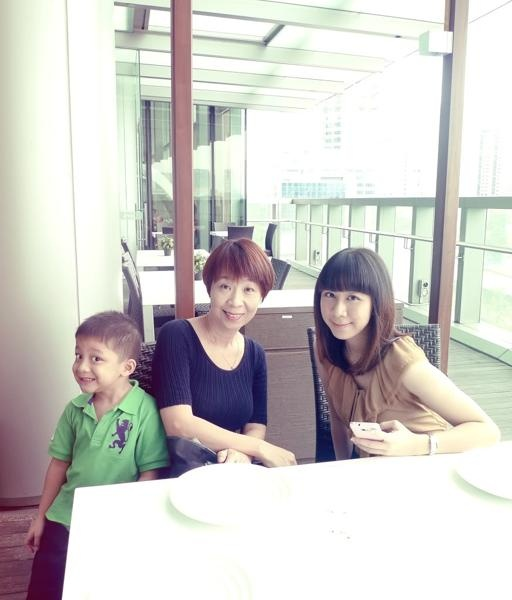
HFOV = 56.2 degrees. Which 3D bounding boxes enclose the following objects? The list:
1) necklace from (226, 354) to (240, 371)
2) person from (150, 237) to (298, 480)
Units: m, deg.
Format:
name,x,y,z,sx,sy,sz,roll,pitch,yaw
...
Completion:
name,x,y,z,sx,sy,sz,roll,pitch,yaw
necklace,-0.070,0.183,1.402,0.047,0.054,0.005,0,7,-8
person,-0.051,0.191,1.400,0.425,0.741,0.395,3,-4,26
